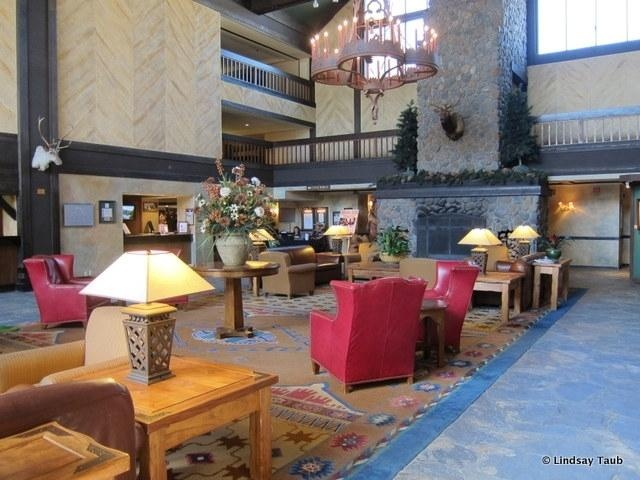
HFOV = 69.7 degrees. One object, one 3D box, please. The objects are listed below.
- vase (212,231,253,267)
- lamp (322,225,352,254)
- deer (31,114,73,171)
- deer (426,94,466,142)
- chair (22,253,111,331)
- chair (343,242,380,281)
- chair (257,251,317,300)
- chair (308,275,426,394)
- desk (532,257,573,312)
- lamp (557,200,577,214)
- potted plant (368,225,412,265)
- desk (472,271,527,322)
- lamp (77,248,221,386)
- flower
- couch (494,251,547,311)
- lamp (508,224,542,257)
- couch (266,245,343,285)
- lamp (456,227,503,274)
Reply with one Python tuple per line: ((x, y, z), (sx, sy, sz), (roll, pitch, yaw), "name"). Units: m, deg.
((-1.102, 0.104, 5.927), (0.478, 0.427, 0.499), (2, 5, 22), "vase")
((0.497, -0.032, 11.398), (0.785, 0.784, 0.784), (0, 0, -7), "lamp")
((-5.629, -1.988, 9.648), (0.402, 1.130, 0.715), (2, 5, 28), "deer")
((3.107, -2.883, 11.054), (0.581, 1.102, 1.126), (-4, 18, 27), "deer")
((-3.504, 0.710, 6.162), (1.063, 1.168, 1.010), (1, 1, -4), "chair")
((0.917, 0.447, 9.035), (0.665, 0.826, 0.691), (-6, 3, 21), "chair")
((-0.659, 0.689, 9.078), (0.850, 0.921, 0.970), (-3, 2, 36), "chair")
((0.375, 0.798, 4.325), (0.949, 1.094, 0.961), (0, 0, -21), "chair")
((4.095, 0.714, 8.081), (0.477, 0.748, 1.324), (4, 6, 34), "desk")
((7.541, -0.998, 13.976), (0.422, 0.272, 0.130), (-1, -2, 37), "lamp")
((1.325, 0.080, 8.375), (0.497, 0.644, 1.021), (0, 4, 4), "potted plant")
((2.767, 0.768, 6.883), (0.805, 0.787, 0.826), (-3, -4, 34), "desk")
((-0.958, 0.437, 2.597), (0.587, 0.702, 0.590), (1, 2, 12), "lamp")
((-1.065, -0.378, 5.966), (0.898, 1.061, 0.856), (18, -1, 29), "flower")
((3.326, 0.603, 7.789), (0.542, 0.660, 0.969), (6, 8, 32), "couch")
((3.398, 0.036, 7.635), (0.500, 0.626, 0.512), (0, 7, 31), "lamp")
((-0.187, 0.479, 9.986), (0.840, 0.758, 1.557), (0, 0, 27), "couch")
((2.353, 0.189, 6.766), (0.673, 0.674, 0.657), (4, -6, -1), "lamp")
